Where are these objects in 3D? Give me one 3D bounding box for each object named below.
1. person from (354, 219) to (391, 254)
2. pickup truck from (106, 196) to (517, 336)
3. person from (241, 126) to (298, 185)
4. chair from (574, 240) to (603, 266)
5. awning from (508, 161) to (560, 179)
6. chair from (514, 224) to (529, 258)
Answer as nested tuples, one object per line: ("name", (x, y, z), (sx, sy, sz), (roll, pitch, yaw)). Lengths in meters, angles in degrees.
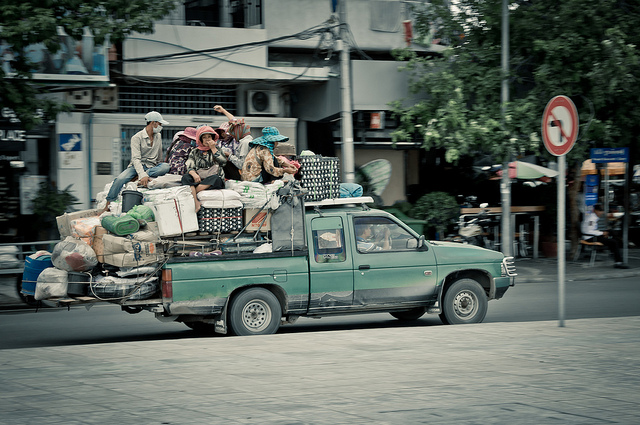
("person", (0.992, 0.461, 20.694), (0.970, 0.351, 0.578), (-6, 25, -20))
("pickup truck", (-0.262, 1.097, 21.382), (7.857, 1.755, 2.770), (-2, 2, -15))
("person", (-1.040, -1.125, 20.922), (1.094, 1.141, 0.419), (-1, 0, -3))
("chair", (7.536, 1.108, 29.781), (0.868, 0.566, 0.746), (1, 1, -13))
("awning", (5.676, -1.164, 29.092), (1.632, 0.321, 0.821), (3, -3, -7))
("chair", (6.069, 0.856, 31.832), (0.396, 1.002, 0.692), (-1, 0, 10))
